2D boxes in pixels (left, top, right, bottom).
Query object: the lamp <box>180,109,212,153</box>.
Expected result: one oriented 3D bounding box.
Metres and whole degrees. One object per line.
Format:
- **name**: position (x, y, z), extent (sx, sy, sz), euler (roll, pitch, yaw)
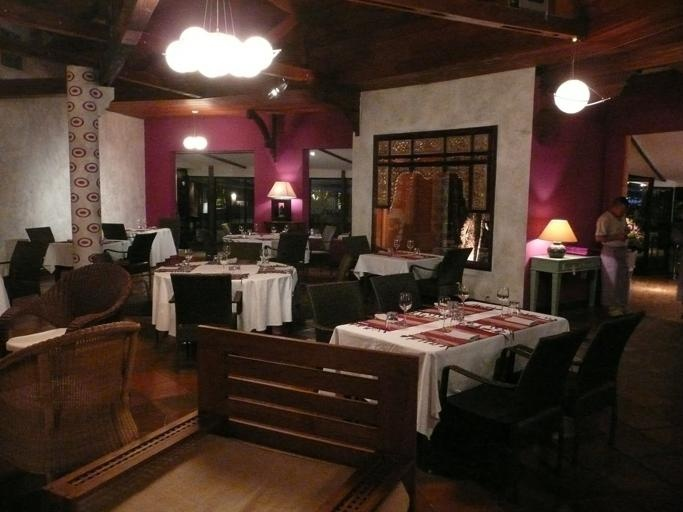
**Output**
- **lamp**: position (-3.233, -2.738, 12.172), extent (0.469, 0.835, 0.577), euler (3, 8, 37)
